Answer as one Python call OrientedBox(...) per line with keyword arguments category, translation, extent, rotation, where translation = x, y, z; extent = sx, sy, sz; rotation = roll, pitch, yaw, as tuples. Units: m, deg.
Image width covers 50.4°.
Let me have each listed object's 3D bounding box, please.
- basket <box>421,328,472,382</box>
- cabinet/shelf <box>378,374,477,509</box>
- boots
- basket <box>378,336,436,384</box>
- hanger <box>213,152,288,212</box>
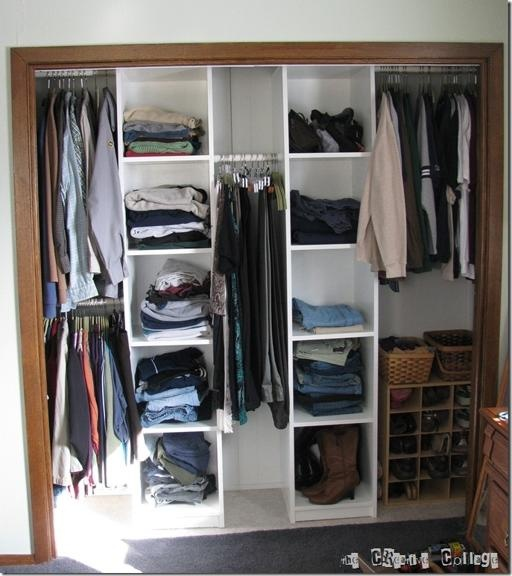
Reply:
OrientedBox(category="basket", translation=(1.064, 0.363, 3.001), extent=(0.177, 0.162, 0.290), rotation=(-1, 2, -1))
OrientedBox(category="cabinet/shelf", translation=(0.901, 0.808, 2.877), extent=(0.560, 0.686, 0.202), rotation=(-1, 1, -8))
OrientedBox(category="boots", translation=(0.416, 0.917, 2.809), extent=(0.333, 0.492, 0.220), rotation=(-3, -9, 12))
OrientedBox(category="basket", translation=(0.779, 0.374, 2.950), extent=(0.176, 0.163, 0.291), rotation=(0, 2, -1))
OrientedBox(category="hanger", translation=(-0.042, -0.496, 2.686), extent=(0.286, 0.341, 0.077), rotation=(0, 8, -2))
